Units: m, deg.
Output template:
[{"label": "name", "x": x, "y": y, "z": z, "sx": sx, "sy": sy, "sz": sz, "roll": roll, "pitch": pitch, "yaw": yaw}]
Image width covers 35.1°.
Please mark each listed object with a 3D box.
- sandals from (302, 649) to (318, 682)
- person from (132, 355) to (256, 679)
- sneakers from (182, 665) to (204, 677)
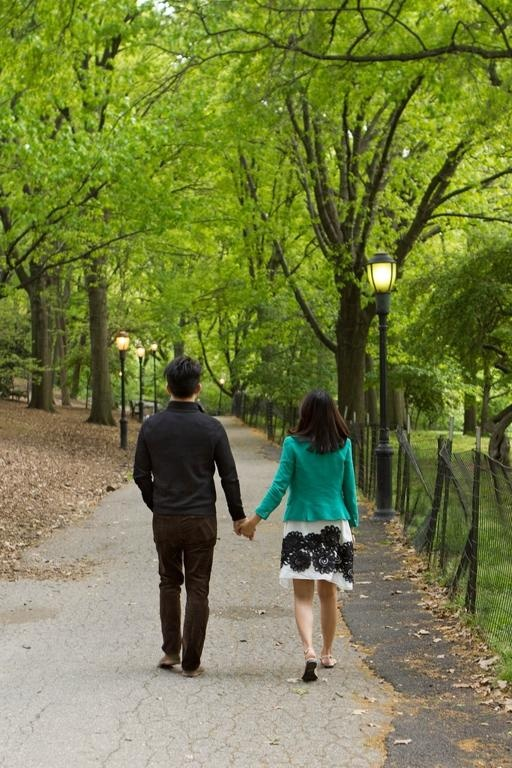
[{"label": "sandals", "x": 0.317, "y": 1.615, "z": 4.651, "sx": 0.080, "sy": 0.207, "sz": 0.086, "roll": -1, "pitch": 42, "yaw": 0}, {"label": "person", "x": -0.397, "y": 0.780, "z": 4.855, "sx": 0.549, "sy": 1.889, "sz": 0.496, "roll": 1, "pitch": 4, "yaw": 43}, {"label": "sneakers", "x": -0.364, "y": 1.694, "z": 4.761, "sx": 0.044, "sy": 0.053, "sz": 0.124, "roll": 7, "pitch": 11, "yaw": 39}]
